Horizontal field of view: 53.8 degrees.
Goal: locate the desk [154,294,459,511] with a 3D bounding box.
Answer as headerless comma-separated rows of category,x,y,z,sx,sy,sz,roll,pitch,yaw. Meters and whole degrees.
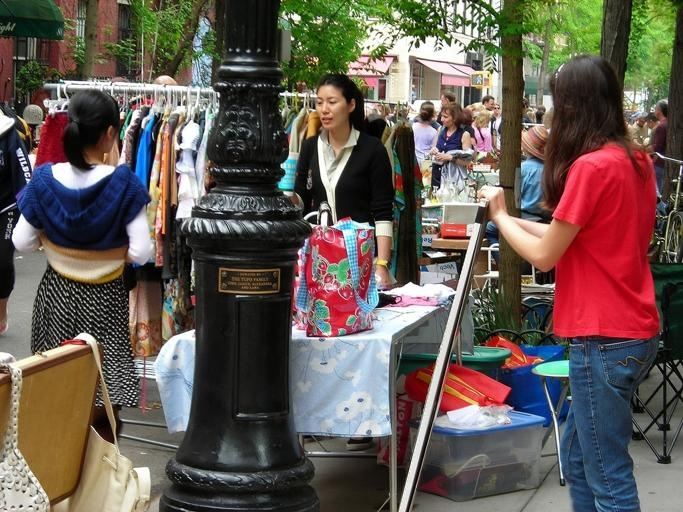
desk,-0.102,0.938,3.786,1.803,1.162,0.801,-2,10,-18

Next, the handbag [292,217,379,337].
handbag,-0.042,0.126,3.518,0.526,0.636,0.346,2,7,-11

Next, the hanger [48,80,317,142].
hanger,-1.187,-1.006,4.731,1.197,0.342,0.554,5,4,13

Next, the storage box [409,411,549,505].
storage box,0.936,1.310,4.408,0.706,0.394,0.522,0,0,-32
